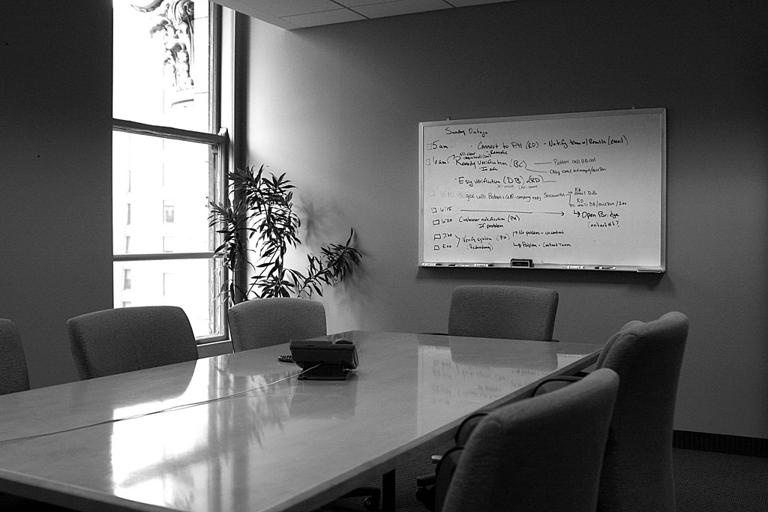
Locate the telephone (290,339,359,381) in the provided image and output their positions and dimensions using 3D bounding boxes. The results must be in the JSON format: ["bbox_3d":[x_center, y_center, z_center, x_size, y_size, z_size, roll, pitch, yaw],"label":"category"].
[{"bbox_3d":[-0.246,0.441,2.463,0.290,0.146,0.210,-1,-1,11],"label":"telephone"}]

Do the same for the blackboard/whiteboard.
[{"bbox_3d":[1.363,-0.538,4.597,1.423,0.936,0.186,1,2,22],"label":"blackboard/whiteboard"}]

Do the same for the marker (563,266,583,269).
[{"bbox_3d":[1.525,0.086,4.542,0.131,0.038,0.021,1,4,18],"label":"marker"}]

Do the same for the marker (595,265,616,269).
[{"bbox_3d":[1.737,0.086,4.456,0.136,0.037,0.026,1,4,13],"label":"marker"}]
